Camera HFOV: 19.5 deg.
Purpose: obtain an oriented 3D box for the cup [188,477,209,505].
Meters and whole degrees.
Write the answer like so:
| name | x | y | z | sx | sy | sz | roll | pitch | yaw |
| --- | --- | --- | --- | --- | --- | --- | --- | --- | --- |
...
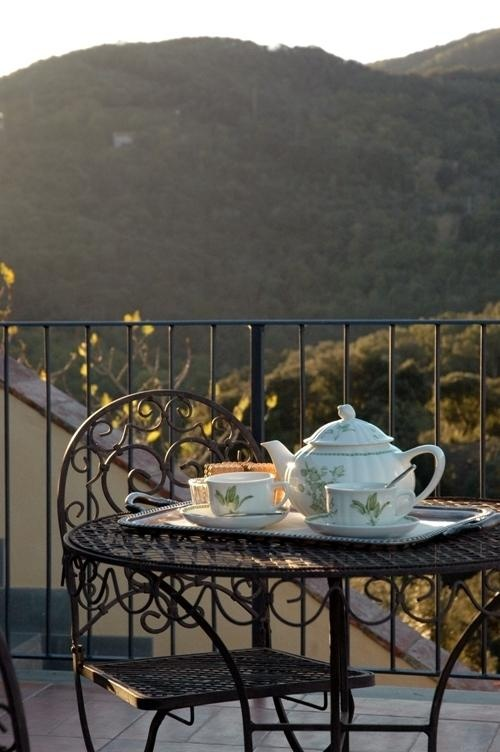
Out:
| name | x | y | z | sx | sy | sz | roll | pitch | yaw |
| --- | --- | --- | --- | --- | --- | --- | --- | --- | --- |
| cup | -0.136 | 0.305 | 3.831 | 0.064 | 0.072 | 0.065 | -1 | 0 | 0 |

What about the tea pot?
| name | x | y | z | sx | sy | sz | roll | pitch | yaw |
| --- | --- | --- | --- | --- | --- | --- | --- | --- | --- |
| tea pot | 0.279 | 0.262 | 3.860 | 0.462 | 0.366 | 0.366 | -1 | 0 | 16 |
